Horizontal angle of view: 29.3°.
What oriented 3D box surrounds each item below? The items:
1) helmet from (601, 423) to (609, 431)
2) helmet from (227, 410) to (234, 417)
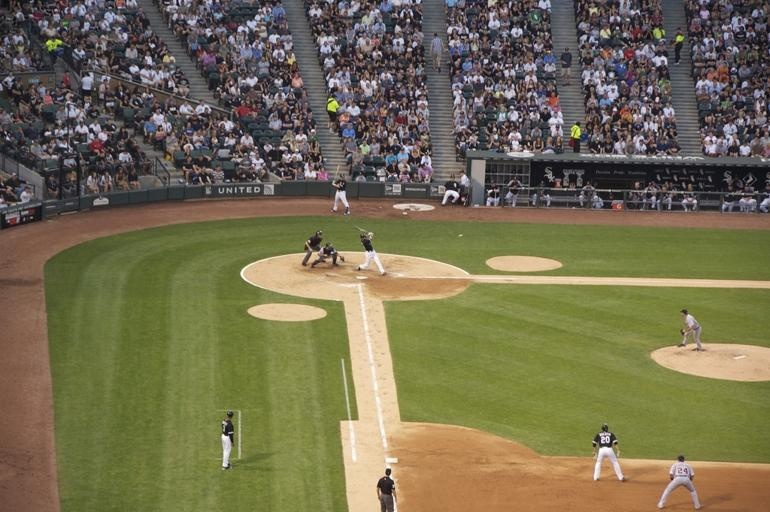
[{"bbox_3d":[10.169,7.939,67.905,0.334,0.341,0.392,3,12,4],"label":"helmet"},{"bbox_3d":[-7.107,7.320,67.761,0.297,0.294,0.337,3,18,-1],"label":"helmet"}]
